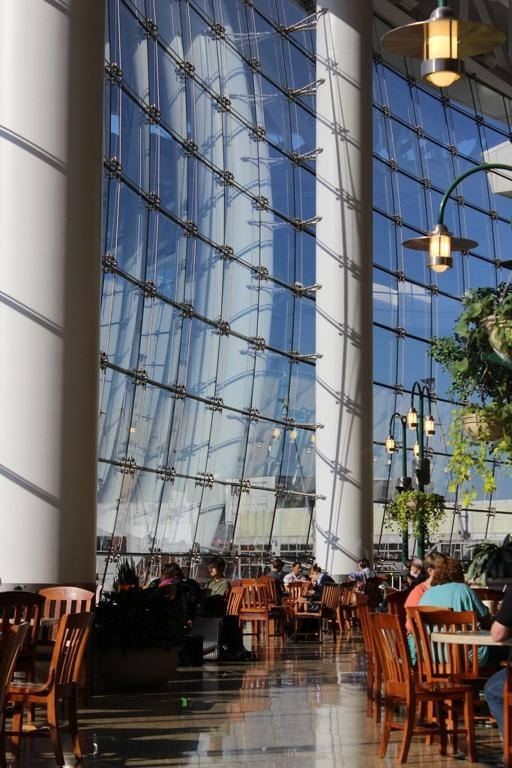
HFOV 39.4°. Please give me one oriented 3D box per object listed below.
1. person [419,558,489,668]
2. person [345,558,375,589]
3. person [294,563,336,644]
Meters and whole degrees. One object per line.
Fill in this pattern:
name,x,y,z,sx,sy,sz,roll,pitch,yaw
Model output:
person,1.096,1.243,3.967,0.370,0.587,0.824,0,-17,17
person,2.146,3.960,14.991,0.414,0.738,0.522,16,-11,45
person,1.080,3.988,12.776,0.763,1.085,0.734,10,-13,-28
